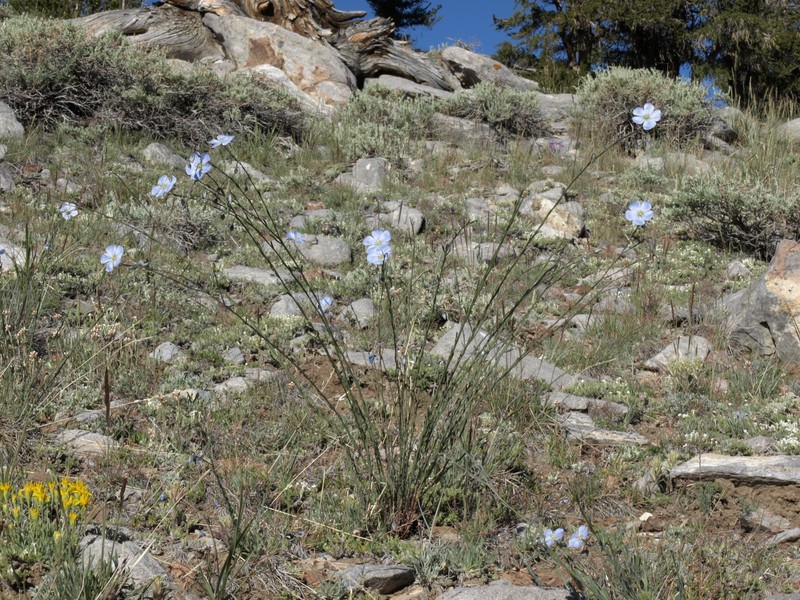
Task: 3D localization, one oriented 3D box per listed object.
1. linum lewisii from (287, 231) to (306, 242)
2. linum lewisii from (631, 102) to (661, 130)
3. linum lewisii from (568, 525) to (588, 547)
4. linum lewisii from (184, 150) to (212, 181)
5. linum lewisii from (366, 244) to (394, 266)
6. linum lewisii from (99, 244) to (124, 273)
[{"bbox_3d":[-1.120,-0.714,14.161,0.160,0.098,0.184,-5,-17,18],"label":"linum lewisii"},{"bbox_3d":[2.562,-1.909,13.585,0.257,0.299,0.384,20,22,32],"label":"linum lewisii"},{"bbox_3d":[1.838,2.478,13.274,0.200,0.242,0.055,14,-10,43],"label":"linum lewisii"},{"bbox_3d":[-2.070,-1.356,13.468,0.232,0.347,0.664,4,21,-11],"label":"linum lewisii"},{"bbox_3d":[-0.221,-0.444,13.600,0.208,0.240,0.318,6,20,-8],"label":"linum lewisii"},{"bbox_3d":[-2.978,-0.393,13.512,0.203,0.377,0.393,0,21,-22],"label":"linum lewisii"}]
